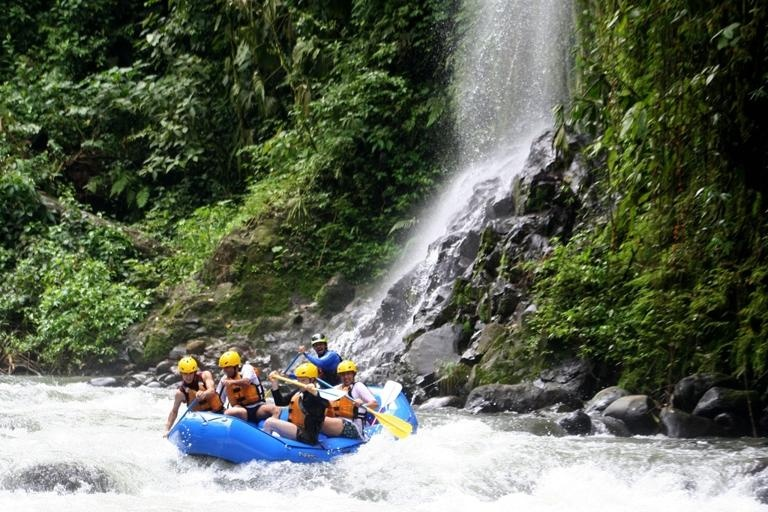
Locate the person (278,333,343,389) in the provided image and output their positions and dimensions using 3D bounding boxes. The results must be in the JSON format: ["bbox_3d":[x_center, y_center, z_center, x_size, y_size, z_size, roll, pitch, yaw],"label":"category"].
[{"bbox_3d":[-1.428,2.069,20.046,1.017,1.930,0.859,5,-5,-23],"label":"person"}]

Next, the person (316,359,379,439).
[{"bbox_3d":[-0.783,2.748,18.354,1.072,1.767,0.884,1,5,-14],"label":"person"}]

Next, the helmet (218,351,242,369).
[{"bbox_3d":[-2.832,1.907,18.352,0.290,0.248,0.416,6,5,40],"label":"helmet"}]

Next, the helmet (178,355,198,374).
[{"bbox_3d":[-3.676,2.052,18.530,0.291,0.425,0.437,-2,-24,-17],"label":"helmet"}]

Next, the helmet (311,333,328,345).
[{"bbox_3d":[-1.296,1.613,19.650,0.196,0.232,0.282,-12,-17,3],"label":"helmet"}]

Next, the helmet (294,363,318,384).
[{"bbox_3d":[-1.416,2.107,17.912,0.378,0.339,0.270,28,-17,-38],"label":"helmet"}]
